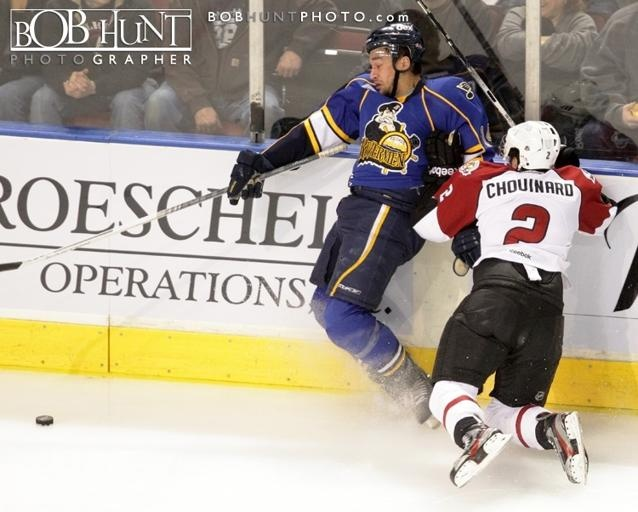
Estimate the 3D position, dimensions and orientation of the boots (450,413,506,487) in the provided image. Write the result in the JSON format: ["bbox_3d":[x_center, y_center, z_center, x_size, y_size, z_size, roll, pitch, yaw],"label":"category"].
[{"bbox_3d":[0.647,0.792,3.437,0.202,0.244,0.188,7,12,8],"label":"boots"}]

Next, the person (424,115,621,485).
[{"bbox_3d":[0.853,0.168,3.639,0.859,1.463,0.887,7,13,6],"label":"person"}]

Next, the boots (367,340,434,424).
[{"bbox_3d":[0.396,0.613,4.115,0.359,0.118,0.248,48,8,24],"label":"boots"}]

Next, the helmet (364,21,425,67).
[{"bbox_3d":[0.360,-0.969,3.951,0.258,0.223,0.193,-7,12,1],"label":"helmet"}]

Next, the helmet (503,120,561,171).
[{"bbox_3d":[0.952,-0.496,3.798,0.274,0.187,0.194,2,16,18],"label":"helmet"}]

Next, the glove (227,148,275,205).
[{"bbox_3d":[-0.346,-0.364,4.105,0.111,0.243,0.246,18,20,-39],"label":"glove"}]
